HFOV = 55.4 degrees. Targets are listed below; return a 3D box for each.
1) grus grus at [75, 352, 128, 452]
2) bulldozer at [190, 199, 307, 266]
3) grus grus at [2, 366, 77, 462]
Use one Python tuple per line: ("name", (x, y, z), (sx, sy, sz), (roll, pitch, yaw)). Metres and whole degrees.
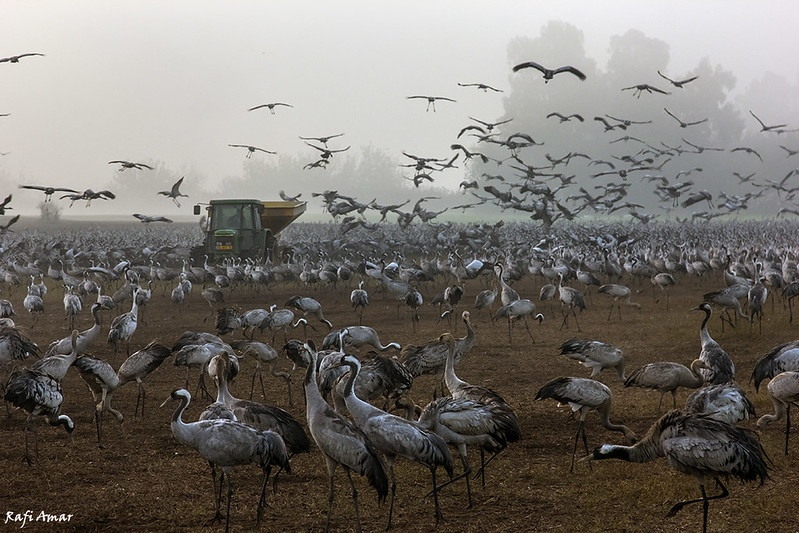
("grus grus", (-8.100, 3.586, 20.676), (1.064, 2.200, 1.870), (-7, 11, -23))
("bulldozer", (-9.742, -2.362, 49.057), (5.761, 6.041, 11.638), (0, 3, -8))
("grus grus", (-9.246, 3.807, 19.631), (1.399, 2.275, 1.727), (-7, 11, -23))
